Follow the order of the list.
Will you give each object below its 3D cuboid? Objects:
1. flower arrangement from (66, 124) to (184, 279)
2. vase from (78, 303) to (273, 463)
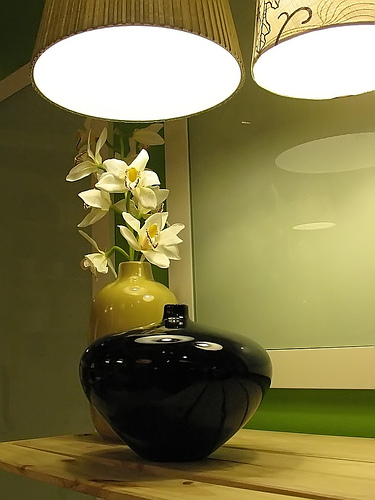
[{"bbox_3d":[-0.117,-0.064,0.890,0.230,0.325,0.220,3,-4,-16],"label":"flower arrangement"},{"bbox_3d":[-0.024,0.188,0.621,0.228,0.206,0.171,7,10,33],"label":"vase"}]
